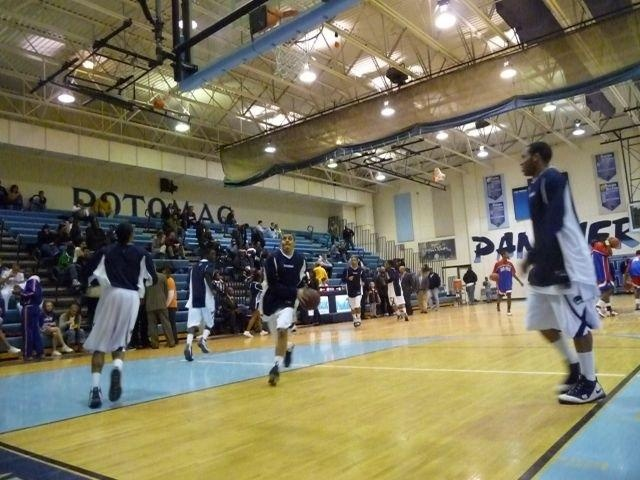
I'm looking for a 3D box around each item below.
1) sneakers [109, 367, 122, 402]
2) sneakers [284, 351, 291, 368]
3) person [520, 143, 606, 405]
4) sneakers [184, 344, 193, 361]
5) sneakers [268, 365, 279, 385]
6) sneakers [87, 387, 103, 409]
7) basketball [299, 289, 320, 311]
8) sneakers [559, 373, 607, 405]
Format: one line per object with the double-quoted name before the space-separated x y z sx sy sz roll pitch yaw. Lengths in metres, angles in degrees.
"sneakers" -2.137 1.497 4.942 0.120 0.374 0.147 0 -2 -13
"sneakers" -0.419 1.535 6.062 0.078 0.257 0.384 -2 -5 -6
"person" 2.051 0.206 4.039 0.558 2.276 0.499 -6 -6 32
"sneakers" -2.142 1.821 7.633 0.124 0.269 0.269 -1 -6 -18
"sneakers" -0.521 1.498 5.249 0.097 0.213 0.182 -2 -5 -7
"sneakers" -2.306 1.603 4.814 0.122 0.195 0.231 0 -6 -27
"basketball" -0.092 0.632 5.038 0.186 0.255 0.210 0 -8 15
"sneakers" 2.219 1.239 3.922 0.455 0.231 0.166 -2 -12 -11
